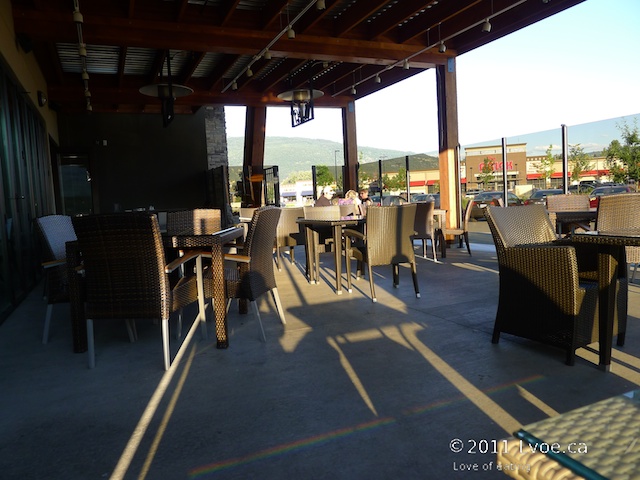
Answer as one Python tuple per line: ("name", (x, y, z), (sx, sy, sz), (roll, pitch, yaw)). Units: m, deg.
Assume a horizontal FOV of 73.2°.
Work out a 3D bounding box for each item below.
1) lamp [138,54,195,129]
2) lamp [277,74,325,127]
("lamp", (-2.675, -2.849, 7.579), (0.809, 1.418, 1.055), (-7, 24, -17))
("lamp", (-0.330, -2.906, 9.204), (0.677, 0.647, 0.635), (6, 14, 12))
